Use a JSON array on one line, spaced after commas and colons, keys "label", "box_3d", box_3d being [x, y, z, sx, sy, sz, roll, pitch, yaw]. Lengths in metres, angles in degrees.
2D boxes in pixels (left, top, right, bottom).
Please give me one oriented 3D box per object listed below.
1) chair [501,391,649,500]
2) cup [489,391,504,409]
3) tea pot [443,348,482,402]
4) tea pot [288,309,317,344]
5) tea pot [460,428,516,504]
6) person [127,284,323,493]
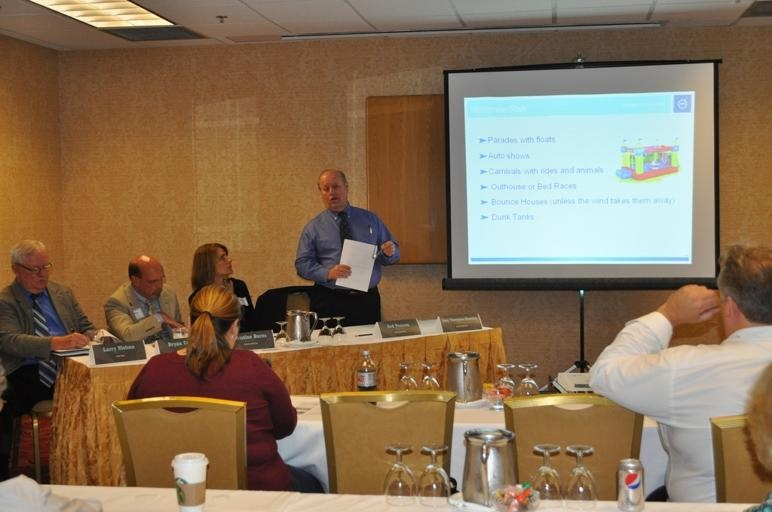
[{"label": "chair", "box_3d": [0.880, 0.997, 3.817, 0.544, 0.562, 0.499, 2, -6, 6]}, {"label": "cup", "box_3d": [0.614, 0.799, 4.172, 0.106, 0.107, 0.113, 1, -7, 0]}, {"label": "tea pot", "box_3d": [0.447, 0.677, 4.238, 0.216, 0.268, 0.270, 0, 6, 4]}, {"label": "tea pot", "box_3d": [-0.640, 0.486, 5.269, 0.257, 0.247, 0.158, 0, -3, 10]}, {"label": "tea pot", "box_3d": [0.417, 0.851, 3.129, 0.205, 0.316, 0.324, 0, 7, 8]}, {"label": "person", "box_3d": [-0.755, 0.746, 4.232, 1.106, 1.315, 0.991, 3, 4, 8]}]
